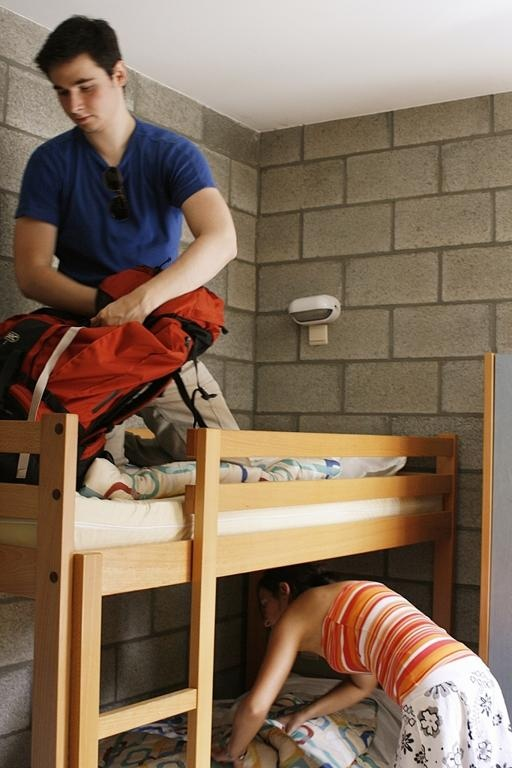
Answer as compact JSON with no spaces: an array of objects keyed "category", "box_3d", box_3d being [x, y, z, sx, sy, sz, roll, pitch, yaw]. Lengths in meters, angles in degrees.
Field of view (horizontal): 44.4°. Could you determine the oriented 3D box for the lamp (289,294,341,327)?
[{"category":"lamp","box_3d":[0.272,-0.323,2.758,0.255,0.123,0.130,1,27,31]}]
